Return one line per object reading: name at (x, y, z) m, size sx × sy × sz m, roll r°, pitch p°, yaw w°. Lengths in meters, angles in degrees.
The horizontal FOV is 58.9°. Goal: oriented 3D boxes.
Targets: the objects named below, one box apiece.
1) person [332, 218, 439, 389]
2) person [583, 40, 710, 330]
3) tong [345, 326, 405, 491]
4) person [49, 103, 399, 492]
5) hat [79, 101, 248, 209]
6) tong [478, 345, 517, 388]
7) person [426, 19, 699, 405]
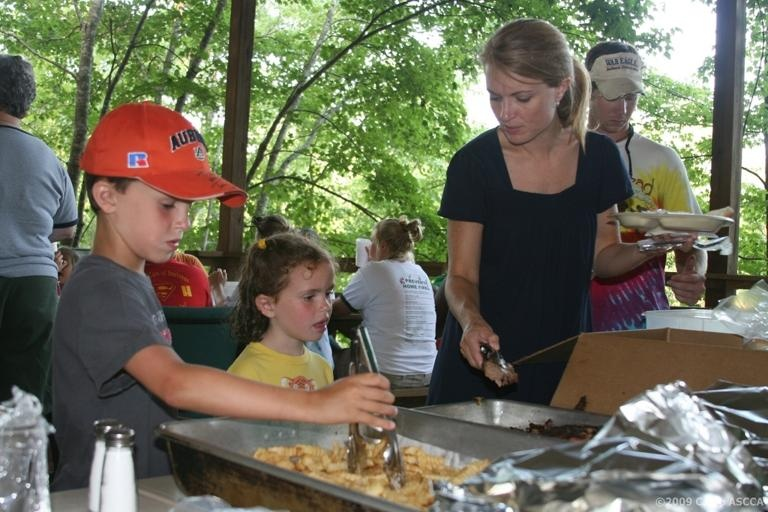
person at (0.090, 0.331, 4.937) m, size 0.867 × 1.068 × 0.869 m, roll 0°, pitch 0°, yaw 2°
person at (1.127, -0.296, 2.903) m, size 0.562 × 1.261 × 0.345 m, roll 2°, pitch 2°, yaw 0°
tong at (-0.019, 0.352, 1.636) m, size 0.135 × 0.363 × 0.237 m, roll 0°, pitch -3°, yaw -2°
person at (-0.549, 0.094, 1.855) m, size 0.569 × 1.133 × 0.836 m, roll 2°, pitch -4°, yaw -31°
hat at (-0.661, -0.304, 2.050) m, size 0.445 × 0.199 × 0.276 m, roll 14°, pitch 8°, yaw 2°
tong at (0.310, 0.308, 1.938) m, size 0.094 × 0.036 × 0.137 m, roll -6°, pitch 41°, yaw -28°
person at (0.589, -0.114, 2.615) m, size 0.974 × 1.206 × 0.849 m, roll 2°, pitch 0°, yaw 7°
